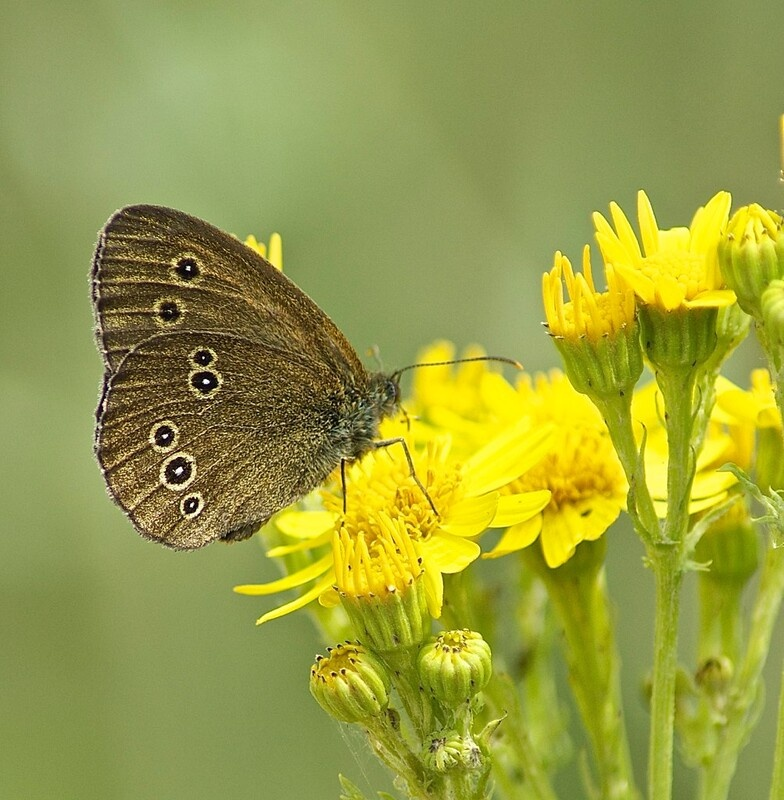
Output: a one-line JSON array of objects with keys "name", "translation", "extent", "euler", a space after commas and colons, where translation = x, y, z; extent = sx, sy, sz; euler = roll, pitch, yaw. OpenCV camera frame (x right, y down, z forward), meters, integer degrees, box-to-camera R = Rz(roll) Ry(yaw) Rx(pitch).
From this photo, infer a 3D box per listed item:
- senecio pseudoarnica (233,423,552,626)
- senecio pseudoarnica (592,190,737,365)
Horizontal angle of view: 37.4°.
[{"name": "senecio pseudoarnica", "translation": [0.029, 0.210, 1.896], "extent": [0.403, 0.391, 0.199], "euler": [-4, -53, 26]}, {"name": "senecio pseudoarnica", "translation": [0.411, -0.162, 1.703], "extent": [0.225, 0.261, 0.228], "euler": [4, -77, -1]}]
